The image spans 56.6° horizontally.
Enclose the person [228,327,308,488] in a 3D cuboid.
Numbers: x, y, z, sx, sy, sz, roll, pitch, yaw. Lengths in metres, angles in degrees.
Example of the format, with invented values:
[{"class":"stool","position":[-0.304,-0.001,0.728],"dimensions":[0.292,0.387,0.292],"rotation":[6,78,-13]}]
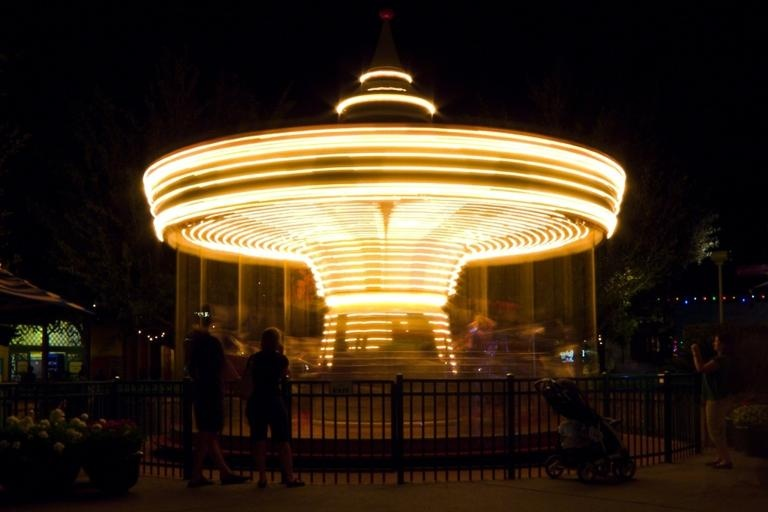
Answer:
[{"class":"person","position":[-1.654,2.236,10.482],"dimensions":[0.686,2.243,0.807],"rotation":[-3,-15,2]}]

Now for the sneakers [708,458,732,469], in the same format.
[{"class":"sneakers","position":[5.556,3.443,11.792],"dimensions":[0.247,0.082,0.156],"rotation":[5,-6,8]}]

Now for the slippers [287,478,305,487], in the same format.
[{"class":"slippers","position":[-1.309,3.355,10.516],"dimensions":[0.247,0.095,0.283],"rotation":[1,-9,-4]}]

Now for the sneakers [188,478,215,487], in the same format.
[{"class":"sneakers","position":[-2.721,3.377,10.669],"dimensions":[0.415,0.161,0.149],"rotation":[1,-1,-17]}]

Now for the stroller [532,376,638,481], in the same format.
[{"class":"stroller","position":[3.033,2.666,10.906],"dimensions":[1.300,1.560,0.725],"rotation":[-5,-15,8]}]
